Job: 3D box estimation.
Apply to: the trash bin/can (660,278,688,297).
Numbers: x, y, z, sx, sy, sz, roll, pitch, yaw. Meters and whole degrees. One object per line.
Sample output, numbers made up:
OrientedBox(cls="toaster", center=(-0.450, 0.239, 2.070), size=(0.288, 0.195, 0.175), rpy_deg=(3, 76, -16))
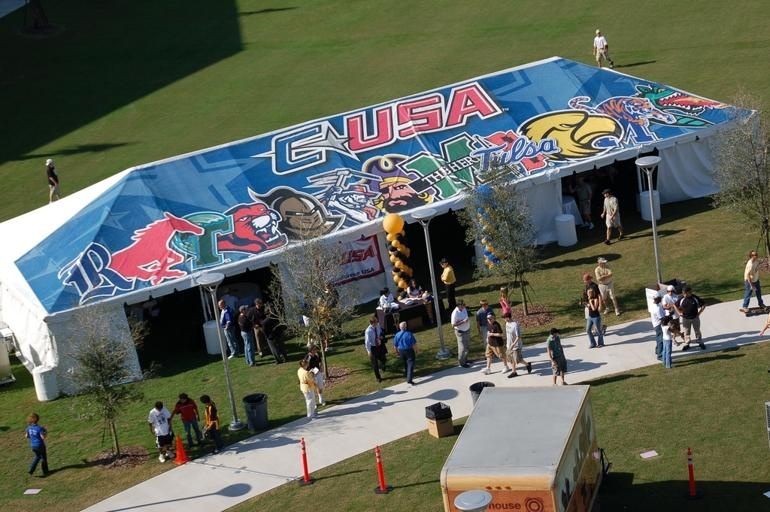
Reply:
OrientedBox(cls="trash bin/can", center=(11.550, 1.152, 49.785), size=(0.801, 0.443, 0.774), rpy_deg=(-12, 15, -27))

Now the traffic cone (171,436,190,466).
OrientedBox(cls="traffic cone", center=(-7.846, 7.276, 47.608), size=(0.545, 0.932, 0.979), rpy_deg=(-15, 6, -8))

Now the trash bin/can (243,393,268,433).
OrientedBox(cls="trash bin/can", center=(-4.936, 5.972, 48.036), size=(1.345, 1.220, 1.307), rpy_deg=(-4, 7, 2))

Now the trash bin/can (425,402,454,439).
OrientedBox(cls="trash bin/can", center=(2.022, 6.063, 46.605), size=(0.966, 1.016, 0.545), rpy_deg=(-14, 6, -1))

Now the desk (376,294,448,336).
OrientedBox(cls="desk", center=(0.639, 2.333, 52.736), size=(2.232, 0.958, 1.588), rpy_deg=(-7, 11, -25))

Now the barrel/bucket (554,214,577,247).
OrientedBox(cls="barrel/bucket", center=(8.138, -1.179, 56.729), size=(1.370, 1.364, 1.342), rpy_deg=(-7, 7, 1))
